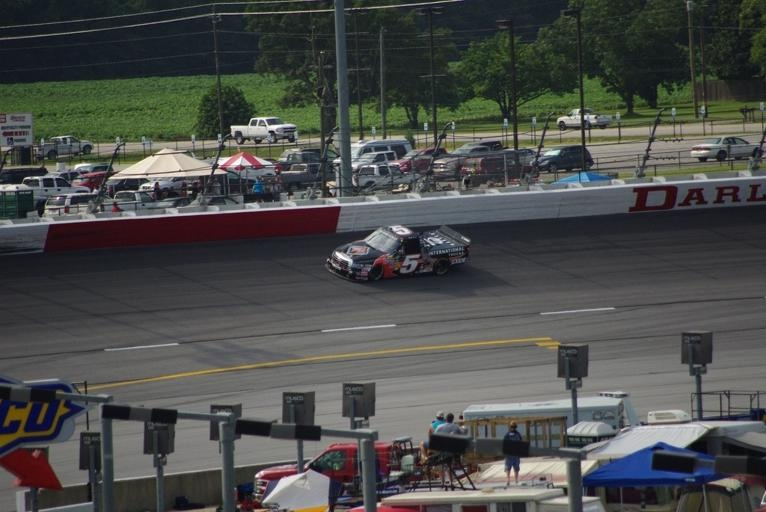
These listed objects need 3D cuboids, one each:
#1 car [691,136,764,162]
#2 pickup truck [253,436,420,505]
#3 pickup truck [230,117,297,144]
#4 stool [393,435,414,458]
[{"bbox_3d":[27.869,-8.887,188.959,4.308,1.933,2.782,-5,6,-20],"label":"car"},{"bbox_3d":[-3.243,14.985,160.174,11.741,4.286,3.346,-3,6,-4],"label":"pickup truck"},{"bbox_3d":[-10.594,-11.481,209.253,5.617,1.742,2.941,1,6,32],"label":"pickup truck"},{"bbox_3d":[1.253,13.188,160.858,1.113,1.354,1.459,-11,-16,40],"label":"stool"}]
